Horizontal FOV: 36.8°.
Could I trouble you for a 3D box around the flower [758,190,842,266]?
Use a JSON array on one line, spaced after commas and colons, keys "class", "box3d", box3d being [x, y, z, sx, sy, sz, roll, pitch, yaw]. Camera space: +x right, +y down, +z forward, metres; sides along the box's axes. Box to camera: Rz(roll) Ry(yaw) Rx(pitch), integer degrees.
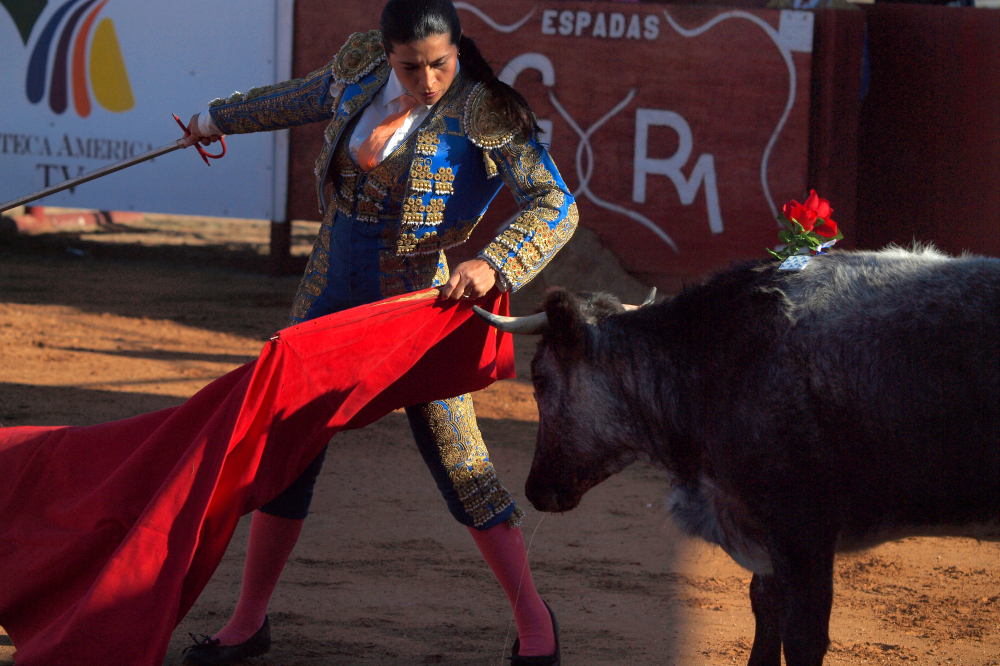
[{"class": "flower", "box3d": [1.445, -0.481, 6.786, 0.304, 0.306, 0.264, -12, -1, -38]}]
